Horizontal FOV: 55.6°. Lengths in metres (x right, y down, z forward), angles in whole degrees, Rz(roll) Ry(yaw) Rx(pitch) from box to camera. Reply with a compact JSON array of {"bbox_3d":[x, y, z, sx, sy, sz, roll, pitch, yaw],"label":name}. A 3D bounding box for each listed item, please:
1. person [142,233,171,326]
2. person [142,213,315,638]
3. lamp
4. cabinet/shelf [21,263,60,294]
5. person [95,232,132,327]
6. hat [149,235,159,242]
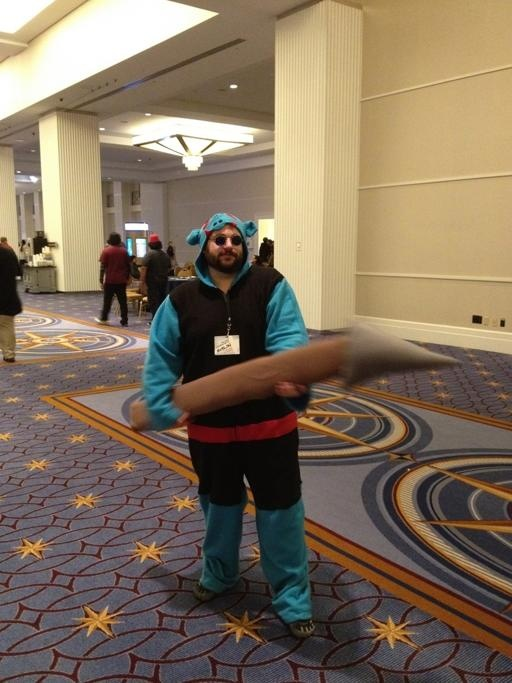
[{"bbox_3d":[-1.742,-1.077,8.438,0.506,1.491,0.581,8,13,41],"label":"person"},{"bbox_3d":[-0.067,0.202,1.333,0.491,1.088,0.442,-2,2,26],"label":"person"},{"bbox_3d":[-1.800,-5.966,14.692,2.049,0.908,2.388,-10,14,-29],"label":"lamp"},{"bbox_3d":[-6.092,-2.091,13.856,0.779,0.872,1.439,-6,15,-25],"label":"cabinet/shelf"},{"bbox_3d":[-2.418,-1.034,8.304,0.589,1.557,0.842,-4,7,-17],"label":"person"},{"bbox_3d":[-1.683,-1.715,8.110,0.128,0.097,0.160,-11,15,-41],"label":"hat"}]
